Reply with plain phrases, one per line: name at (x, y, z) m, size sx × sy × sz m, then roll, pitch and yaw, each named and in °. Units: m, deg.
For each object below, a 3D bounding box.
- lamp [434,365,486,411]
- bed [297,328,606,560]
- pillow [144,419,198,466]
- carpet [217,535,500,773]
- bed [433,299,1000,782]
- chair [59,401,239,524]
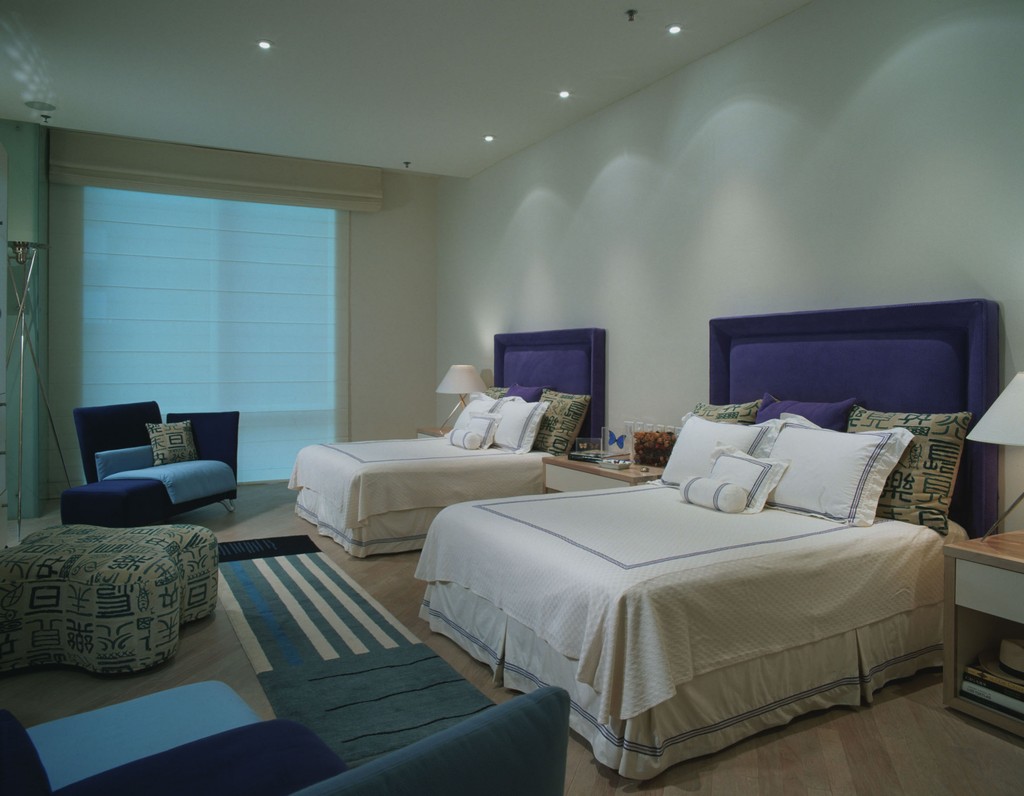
lamp at (-0.462, -0.104, 6.426) m, size 0.384 × 0.432 × 0.403 m, roll 2°, pitch -4°, yaw -32°
bed at (-0.517, 0.158, 5.349) m, size 1.878 × 1.487 × 1.448 m, roll -2°, pitch 12°, yaw -30°
pillow at (-2.665, 0.359, 5.415) m, size 0.316 × 0.369 × 0.129 m, roll 2°, pitch -28°, yaw -44°
carpet at (-0.631, 1.056, 2.899) m, size 0.530 × 0.025 × 2.074 m, roll -2°, pitch 4°, yaw -28°
bed at (0.954, 0.480, 3.355) m, size 2.224 × 1.716 × 1.707 m, roll -4°, pitch 4°, yaw -33°
chair at (-2.675, 0.456, 5.131) m, size 0.673 × 0.833 × 1.192 m, roll -2°, pitch 2°, yaw 11°
